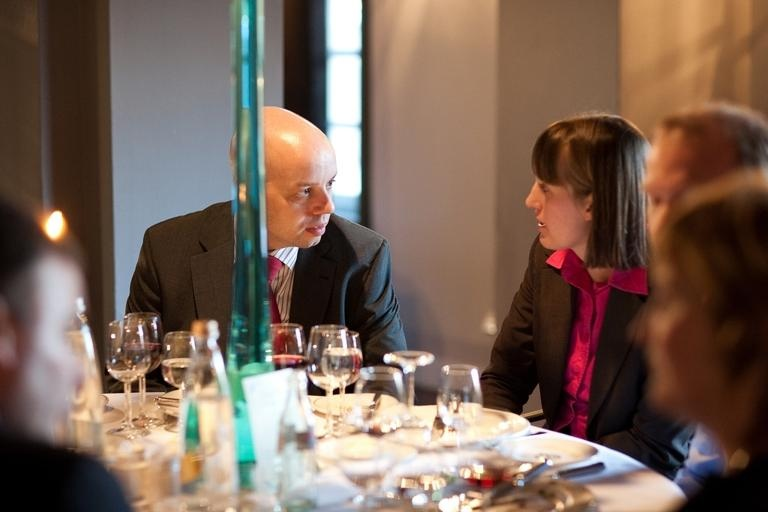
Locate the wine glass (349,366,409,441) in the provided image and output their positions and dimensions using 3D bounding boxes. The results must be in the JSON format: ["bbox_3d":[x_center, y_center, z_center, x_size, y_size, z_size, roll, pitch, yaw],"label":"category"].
[{"bbox_3d":[-0.001,0.343,1.660,0.150,0.156,0.150,-2,0,15],"label":"wine glass"}]

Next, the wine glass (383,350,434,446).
[{"bbox_3d":[0.070,0.370,1.840,0.198,0.253,0.190,-1,-4,0],"label":"wine glass"}]

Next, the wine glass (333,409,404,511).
[{"bbox_3d":[-0.038,0.431,1.455,0.136,0.140,0.136,-1,0,45],"label":"wine glass"}]

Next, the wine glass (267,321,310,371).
[{"bbox_3d":[-0.268,0.246,1.877,0.098,0.144,0.105,4,-9,-33],"label":"wine glass"}]
